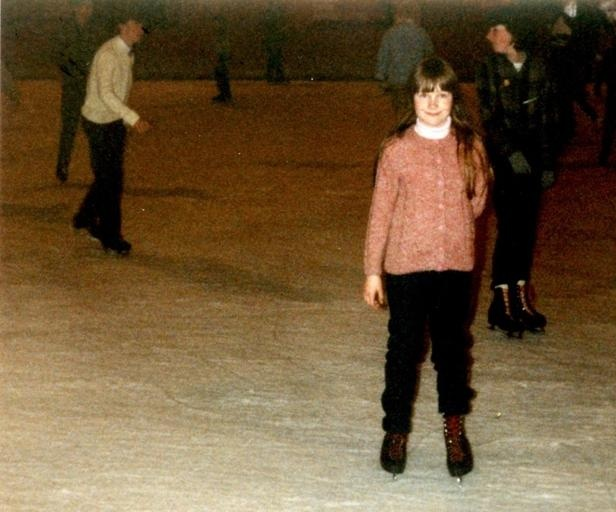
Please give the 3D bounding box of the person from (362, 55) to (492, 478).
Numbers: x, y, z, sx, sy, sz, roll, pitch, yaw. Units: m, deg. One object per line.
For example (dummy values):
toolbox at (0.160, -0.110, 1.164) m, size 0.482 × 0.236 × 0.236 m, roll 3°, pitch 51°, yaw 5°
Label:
person at (0.545, 0.063, 3.439) m, size 0.560 × 1.965 × 0.474 m, roll 3°, pitch 15°, yaw 12°

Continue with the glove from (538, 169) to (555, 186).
glove at (1.691, -0.560, 5.173) m, size 0.108 × 0.105 × 0.025 m, roll 35°, pitch 0°, yaw -16°

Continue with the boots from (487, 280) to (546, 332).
boots at (1.636, 0.401, 5.411) m, size 0.219 × 0.431 × 0.623 m, roll 0°, pitch 1°, yaw -38°

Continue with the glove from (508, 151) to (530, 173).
glove at (1.452, -0.651, 5.030) m, size 0.121 × 0.155 × 0.037 m, roll -19°, pitch 2°, yaw 8°
